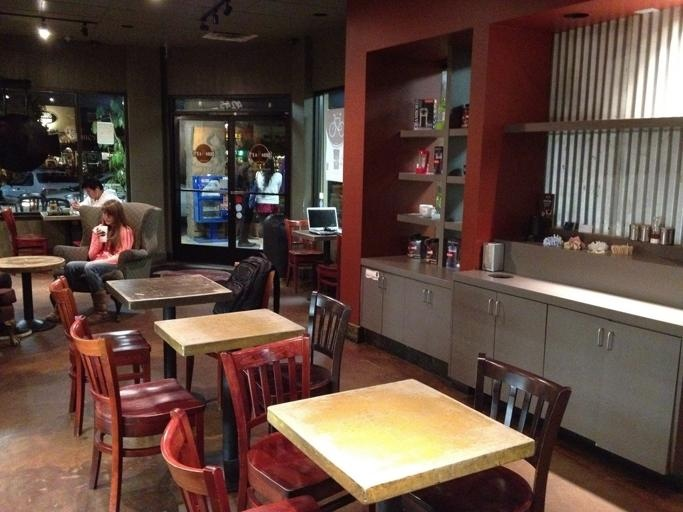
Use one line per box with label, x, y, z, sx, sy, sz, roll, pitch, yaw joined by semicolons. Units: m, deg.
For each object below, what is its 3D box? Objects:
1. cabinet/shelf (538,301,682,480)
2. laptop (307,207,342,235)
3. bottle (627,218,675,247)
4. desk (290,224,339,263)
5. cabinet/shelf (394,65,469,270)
cabinet/shelf;1.857;0.918;3.559;0.338;1.031;0.972;-7;15;-35
laptop;-0.260;-0.502;7.845;0.408;0.457;0.306;-1;1;-15
bottle;2.463;-0.203;4.179;0.091;0.207;0.318;-6;12;-32
desk;-0.318;-0.275;7.702;0.529;0.540;0.540;-5;20;-22
cabinet/shelf;0.971;-1.024;5.725;0.657;2.129;1.371;1;10;0
